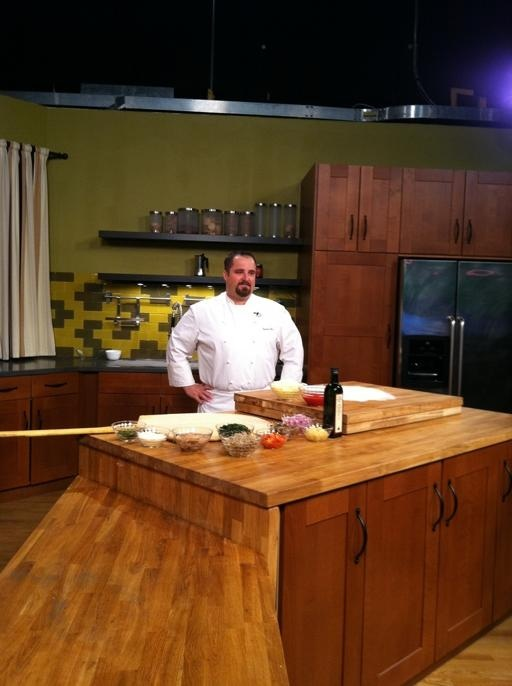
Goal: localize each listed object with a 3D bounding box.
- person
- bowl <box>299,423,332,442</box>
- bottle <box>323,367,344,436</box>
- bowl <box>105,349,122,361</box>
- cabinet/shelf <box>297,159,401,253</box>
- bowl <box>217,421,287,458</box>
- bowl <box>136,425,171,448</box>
[{"bbox_3d":[-0.103,-0.062,3.187,0.728,0.833,0.380,-5,8,-22],"label":"person"},{"bbox_3d":[0.202,0.300,1.934,0.085,0.058,0.079,-3,7,0],"label":"bowl"},{"bbox_3d":[0.262,0.197,2.006,0.077,0.250,0.251,-2,7,8],"label":"bottle"},{"bbox_3d":[-1.139,0.100,4.653,0.092,0.060,0.096,0,-5,0],"label":"bowl"},{"bbox_3d":[0.701,-0.977,4.429,0.599,0.576,0.662,1,2,-6],"label":"cabinet/shelf"},{"bbox_3d":[-0.010,0.283,1.729,0.138,0.055,0.102,-1,7,-5],"label":"bowl"},{"bbox_3d":[-0.322,0.296,1.813,0.094,0.055,0.132,-4,7,-9],"label":"bowl"}]
